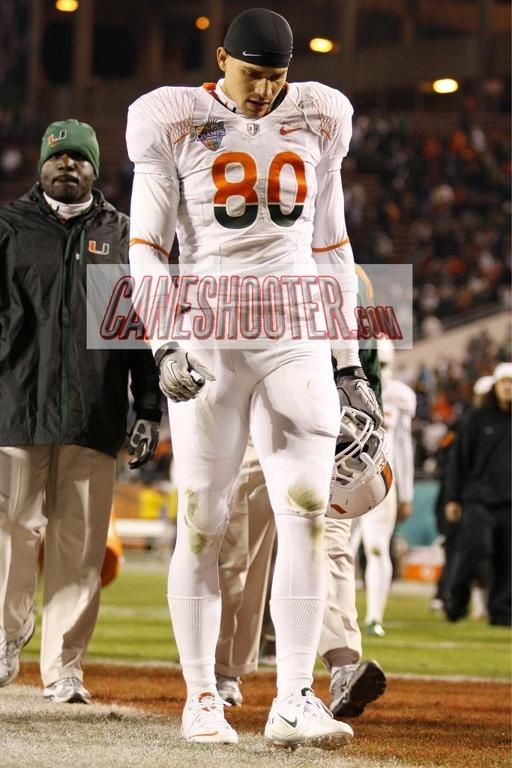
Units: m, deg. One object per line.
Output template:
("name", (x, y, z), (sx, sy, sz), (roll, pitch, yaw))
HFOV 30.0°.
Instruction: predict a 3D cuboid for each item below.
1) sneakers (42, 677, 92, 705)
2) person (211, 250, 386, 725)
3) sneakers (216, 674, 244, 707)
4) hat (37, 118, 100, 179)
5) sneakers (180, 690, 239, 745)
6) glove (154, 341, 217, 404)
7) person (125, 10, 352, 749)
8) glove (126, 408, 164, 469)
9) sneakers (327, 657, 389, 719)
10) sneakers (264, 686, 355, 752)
("sneakers", (-0.596, 0.972, 3.013), (0.143, 0.068, 0.151), (2, 4, -12))
("person", (0.139, 0.593, 3.302), (0.480, 0.966, 0.333), (3, 3, 30))
("sneakers", (-0.096, 1.037, 3.259), (0.098, 0.101, 0.259), (1, -11, -6))
("hat", (-0.679, -0.871, 3.492), (0.225, 0.194, 0.225), (1, 8, -30))
("sneakers", (-0.115, 0.836, 2.388), (0.129, 0.122, 0.206), (3, 4, -8))
("glove", (-0.168, -0.032, 2.359), (0.089, 0.085, 0.136), (16, 26, -13))
("person", (-0.051, -0.041, 2.443), (0.655, 1.859, 0.628), (4, 5, -2))
("glove", (-0.325, 0.180, 3.107), (0.062, 0.153, 0.127), (28, -25, -31))
("sneakers", (0.295, 0.959, 3.033), (0.125, 0.135, 0.283), (14, -44, -28))
("sneakers", (0.126, 0.798, 2.289), (0.102, 0.120, 0.288), (18, -28, -34))
